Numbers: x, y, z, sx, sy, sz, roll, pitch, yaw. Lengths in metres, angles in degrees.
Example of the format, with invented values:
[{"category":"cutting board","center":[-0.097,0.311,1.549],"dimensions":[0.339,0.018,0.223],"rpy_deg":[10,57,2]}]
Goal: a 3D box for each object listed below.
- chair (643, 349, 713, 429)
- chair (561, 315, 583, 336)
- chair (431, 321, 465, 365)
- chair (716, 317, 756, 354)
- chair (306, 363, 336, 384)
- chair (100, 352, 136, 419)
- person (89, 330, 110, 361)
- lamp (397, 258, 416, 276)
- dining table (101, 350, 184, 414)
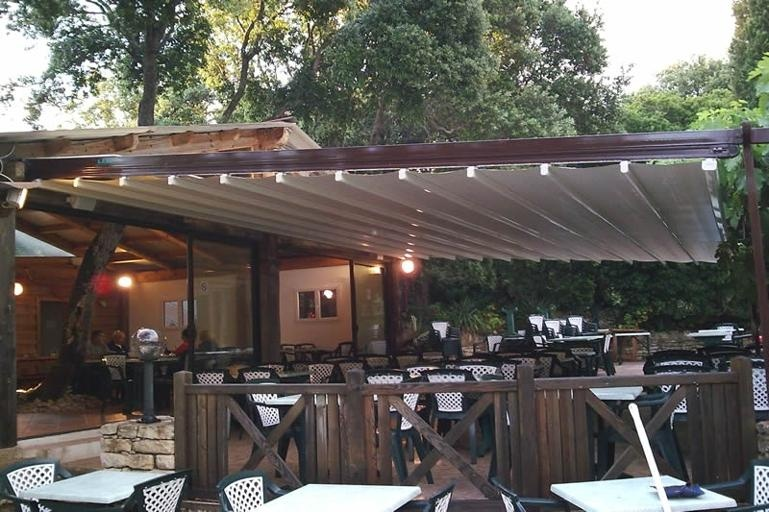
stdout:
[{"category":"chair","center":[3.996,1.823,10.786],"dimensions":[1.019,1.321,1.018],"rpy_deg":[-2,-1,22]},{"category":"chair","center":[4.799,1.782,19.260],"dimensions":[0.504,0.609,0.588],"rpy_deg":[-3,-10,25]},{"category":"chair","center":[1.590,2.018,18.229],"dimensions":[0.659,1.014,0.928],"rpy_deg":[6,-13,-33]},{"category":"chair","center":[7.756,1.757,16.695],"dimensions":[1.157,0.609,2.004],"rpy_deg":[-1,-4,32]},{"category":"chair","center":[-1.152,2.107,13.705],"dimensions":[0.411,0.598,0.429],"rpy_deg":[1,-18,2]},{"category":"chair","center":[-4.692,2.248,13.349],"dimensions":[0.567,0.959,0.925],"rpy_deg":[3,-6,-19]},{"category":"person","center":[-5.243,1.640,13.905],"dimensions":[0.324,0.533,0.887],"rpy_deg":[3,-6,-19]},{"category":"lamp","center":[0.502,0.195,17.663],"dimensions":[0.379,0.374,0.086],"rpy_deg":[13,-27,-26]},{"category":"dining table","center":[-4.396,2.291,13.581],"dimensions":[1.605,1.088,1.624],"rpy_deg":[0,-4,21]}]
